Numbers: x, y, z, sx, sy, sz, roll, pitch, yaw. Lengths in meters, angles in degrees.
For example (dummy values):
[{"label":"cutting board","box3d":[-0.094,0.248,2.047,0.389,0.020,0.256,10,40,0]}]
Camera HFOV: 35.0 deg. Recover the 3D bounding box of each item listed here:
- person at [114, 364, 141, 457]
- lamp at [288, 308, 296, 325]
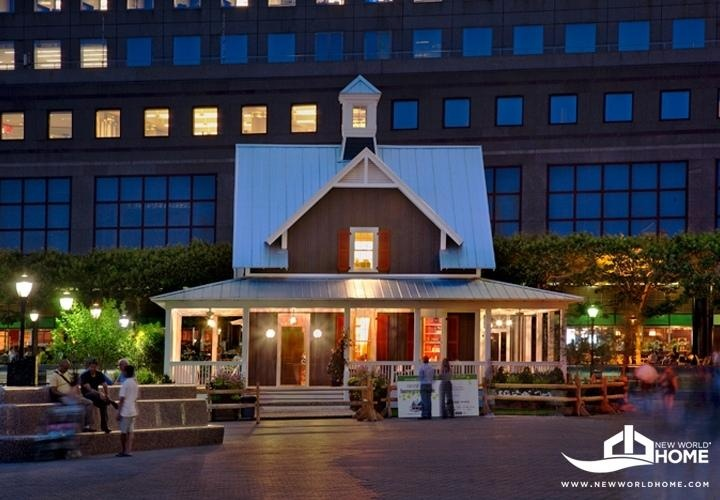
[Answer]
[{"label":"person","box3d":[-10.699,7.401,52.677,1.002,3.738,1.305,2,-2,-8]},{"label":"lamp","box3d":[-3.950,4.012,66.846,0.413,0.870,0.247,-1,14,-5]}]
